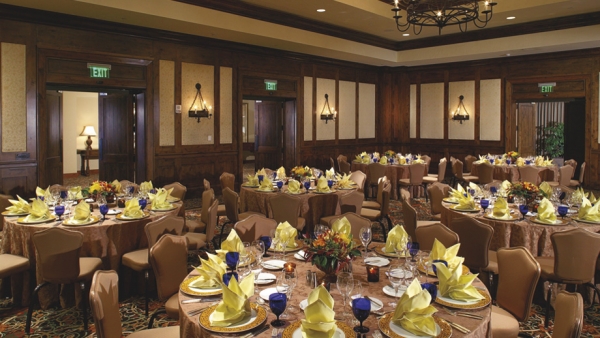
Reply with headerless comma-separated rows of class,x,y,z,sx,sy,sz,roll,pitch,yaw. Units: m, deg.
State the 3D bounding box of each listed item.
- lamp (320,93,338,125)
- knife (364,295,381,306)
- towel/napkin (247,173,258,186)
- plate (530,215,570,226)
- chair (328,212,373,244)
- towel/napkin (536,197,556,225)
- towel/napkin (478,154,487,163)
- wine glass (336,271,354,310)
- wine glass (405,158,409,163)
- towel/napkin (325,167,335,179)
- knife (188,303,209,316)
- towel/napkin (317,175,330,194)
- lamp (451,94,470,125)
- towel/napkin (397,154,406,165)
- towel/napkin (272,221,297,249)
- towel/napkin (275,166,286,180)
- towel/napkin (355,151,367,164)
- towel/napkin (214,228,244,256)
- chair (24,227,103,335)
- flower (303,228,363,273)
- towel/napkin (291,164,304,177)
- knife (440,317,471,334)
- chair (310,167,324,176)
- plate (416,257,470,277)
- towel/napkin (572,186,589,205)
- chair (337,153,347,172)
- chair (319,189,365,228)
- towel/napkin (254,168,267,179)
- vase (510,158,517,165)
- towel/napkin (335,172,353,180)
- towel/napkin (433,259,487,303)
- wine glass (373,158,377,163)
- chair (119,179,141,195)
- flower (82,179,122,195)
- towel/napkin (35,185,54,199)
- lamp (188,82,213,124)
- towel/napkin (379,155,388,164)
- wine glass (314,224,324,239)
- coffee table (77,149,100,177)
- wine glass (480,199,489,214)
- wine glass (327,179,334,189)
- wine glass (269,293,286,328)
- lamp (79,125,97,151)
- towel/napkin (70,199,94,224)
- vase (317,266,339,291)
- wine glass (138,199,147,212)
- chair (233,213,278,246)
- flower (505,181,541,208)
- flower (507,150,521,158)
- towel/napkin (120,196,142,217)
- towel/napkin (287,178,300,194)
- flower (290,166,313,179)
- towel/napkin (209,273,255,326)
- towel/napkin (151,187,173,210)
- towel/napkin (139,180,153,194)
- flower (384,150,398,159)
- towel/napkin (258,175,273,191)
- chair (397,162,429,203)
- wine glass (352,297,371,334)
lamp,1.019,-2.139,14.114,0.188,1.022,0.780,4,7,42
knife,0.961,1.673,5.049,0.094,0.022,0.146,1,13,-30
towel/napkin,-1.061,0.236,8.939,0.247,0.175,0.274,1,7,-3
plate,4.146,0.858,6.662,0.303,0.043,0.297,-9,11,-32
chair,0.896,0.887,6.379,0.523,0.703,0.555,-2,1,-21
towel/napkin,4.150,0.678,6.805,0.374,0.492,0.416,3,7,39
towel/napkin,5.887,-0.348,12.778,0.324,0.167,0.356,2,13,32
wine glass,0.574,1.508,4.961,0.201,0.446,0.266,-1,5,7
wine glass,3.286,-0.250,12.118,0.145,0.163,0.135,-4,7,-2
towel/napkin,0.716,0.115,9.298,0.206,0.273,0.273,-3,-18,6
knife,-1.271,1.757,4.974,0.250,0.014,0.083,-12,37,-27
towel/napkin,0.490,0.350,8.467,0.304,0.295,0.265,13,-6,-33
lamp,5.866,-2.160,14.425,0.593,1.037,0.182,0,6,20
towel/napkin,3.093,-0.295,12.094,0.216,0.169,0.395,4,12,1
towel/napkin,-0.218,0.978,5.831,0.366,0.396,0.368,-2,4,12
towel/napkin,-0.454,0.141,9.364,0.267,0.299,0.290,8,36,3
towel/napkin,2.026,-0.352,12.426,0.414,0.252,0.448,4,11,43
towel/napkin,-0.987,1.011,5.660,0.363,0.390,0.367,-4,13,-33
chair,-3.809,1.719,6.385,1.041,1.654,0.488,-2,6,-2
flower,0.398,1.057,5.291,0.607,0.425,0.609,2,7,8
towel/napkin,-0.028,0.046,8.844,0.259,0.216,0.255,0,2,-40
knife,1.872,1.902,4.841,0.404,0.028,0.104,15,40,35
chair,0.451,0.050,10.705,0.314,0.366,0.263,1,7,-10
plate,1.788,1.326,5.262,0.419,0.070,0.426,9,11,32
towel/napkin,5.479,0.508,7.759,0.262,0.351,0.194,-7,6,-25
chair,1.349,-0.183,12.874,0.442,0.635,0.514,-3,20,-2
chair,0.861,0.802,7.951,0.750,0.901,0.708,1,3,-2
towel/napkin,-0.894,0.092,8.972,0.231,0.135,0.317,-2,6,-25
vase,6.374,-0.222,11.747,0.189,0.206,0.211,-5,5,-3
towel/napkin,0.989,0.167,9.186,0.287,0.129,0.283,1,-1,-36
towel/napkin,2.011,1.440,5.089,0.485,0.282,0.523,-4,0,43
wine glass,2.359,-0.264,12.386,0.120,0.099,0.118,-3,6,-37
chair,-3.489,0.368,8.129,0.421,0.311,0.418,4,4,31
flower,-3.627,0.364,7.577,0.462,0.207,0.450,2,0,23
towel/napkin,-4.996,0.452,7.733,0.264,0.175,0.338,2,-6,9
lamp,-2.885,-1.891,11.414,0.692,1.112,0.185,-3,6,-19
towel/napkin,2.526,-0.281,11.989,0.209,0.166,0.270,-11,7,12
wine glass,0.251,0.876,5.626,0.129,0.213,0.138,3,3,41
coffee table,-8.664,-0.285,16.140,0.700,0.945,1.014,-5,12,-43
wine glass,3.291,0.661,7.064,0.152,0.227,0.150,-17,21,-8
wine glass,0.632,0.334,8.587,0.171,0.164,0.158,-1,4,-5
wine glass,-0.261,1.700,4.865,0.213,0.394,0.215,-2,5,-3
lamp,-8.870,-1.306,16.547,0.608,1.029,1.094,-3,5,-16
towel/napkin,-3.727,0.718,6.708,0.316,0.377,0.260,-3,6,-21
vase,0.385,1.443,5.323,0.283,0.321,0.283,0,2,5
wine glass,-2.817,0.656,7.133,0.177,0.194,0.171,-1,6,2
chair,-0.762,0.919,6.530,0.520,0.769,0.506,1,7,-14
flower,4.015,0.483,7.096,0.461,0.408,0.455,-11,15,-42
flower,6.635,-0.457,12.311,0.358,0.184,0.353,-1,5,-24
towel/napkin,-2.907,0.662,6.876,0.330,0.287,0.329,-5,6,-16
towel/napkin,-0.140,0.342,8.320,0.277,0.281,0.267,-4,11,-5
flower,0.049,0.075,8.848,0.348,0.221,0.343,0,0,-24
towel/napkin,-0.784,1.635,4.973,0.443,0.338,0.619,17,31,33
towel/napkin,-2.625,0.566,7.371,0.404,0.163,0.392,-8,-29,33
towel/napkin,-3.057,0.334,7.859,0.313,0.353,0.353,1,-1,-8
flower,2.907,-0.469,12.595,0.450,0.337,0.473,0,1,-18
towel/napkin,-0.720,0.310,8.427,0.177,0.361,0.262,9,-6,-36
chair,3.389,0.339,11.644,0.901,1.067,0.692,-4,6,-22
wine glass,0.743,1.741,4.813,0.222,0.432,0.256,-1,6,9
